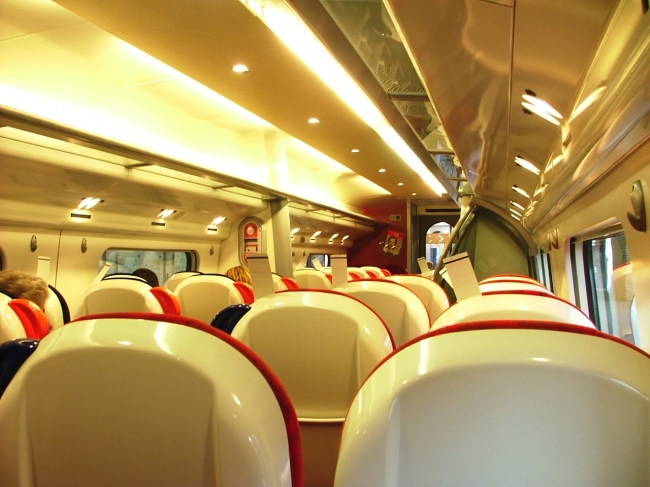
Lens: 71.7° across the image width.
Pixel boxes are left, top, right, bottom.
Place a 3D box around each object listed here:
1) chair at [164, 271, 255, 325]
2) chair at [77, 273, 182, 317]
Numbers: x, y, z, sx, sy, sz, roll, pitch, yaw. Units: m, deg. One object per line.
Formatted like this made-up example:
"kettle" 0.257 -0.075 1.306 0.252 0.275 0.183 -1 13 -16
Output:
"chair" -0.905 0.389 3.682 0.444 0.650 0.518 1 11 10
"chair" -1.301 0.337 3.096 0.559 0.287 0.859 6 -11 -38
